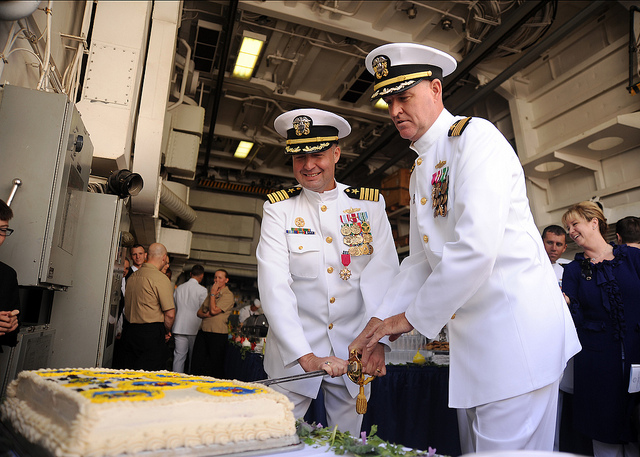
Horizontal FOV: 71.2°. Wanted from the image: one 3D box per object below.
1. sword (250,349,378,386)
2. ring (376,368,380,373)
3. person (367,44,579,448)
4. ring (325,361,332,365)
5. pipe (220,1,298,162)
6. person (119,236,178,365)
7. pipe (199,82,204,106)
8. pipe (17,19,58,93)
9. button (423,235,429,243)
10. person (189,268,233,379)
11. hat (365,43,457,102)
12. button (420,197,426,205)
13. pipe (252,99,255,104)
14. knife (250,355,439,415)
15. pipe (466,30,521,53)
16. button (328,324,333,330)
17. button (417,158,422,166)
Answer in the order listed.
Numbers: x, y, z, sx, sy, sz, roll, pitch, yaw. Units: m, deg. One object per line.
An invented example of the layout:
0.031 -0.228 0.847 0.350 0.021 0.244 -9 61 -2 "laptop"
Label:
0.006 0.704 2.171 0.527 0.212 0.046 -5 -45 -11 "sword"
0.307 0.753 2.367 0.035 0.025 0.008 18 -20 -32 "ring"
0.698 0.024 2.226 0.877 2.038 0.579 -8 -16 29 "person"
0.044 0.663 2.199 0.030 0.014 0.015 -9 -17 29 "ring"
-1.304 -2.773 8.884 0.261 0.292 5.118 5 -16 -21 "pipe"
-2.054 0.893 5.426 0.559 1.470 0.363 6 -15 -25 "person"
-2.325 -2.605 8.786 0.061 0.547 0.605 4 -15 -16 "pipe"
-2.246 -1.395 3.576 0.163 0.623 0.247 2 5 -16 "pipe"
0.530 0.052 2.239 0.003 0.043 0.042 4 -15 -18 "button"
-1.539 1.350 6.514 0.574 1.579 0.567 -13 -19 41 "person"
0.500 -0.862 2.476 0.511 0.243 0.508 -14 16 -36 "hat"
0.532 -0.141 2.297 0.017 0.029 0.028 14 22 -43 "button"
-1.364 -2.613 9.167 0.037 0.164 0.039 17 21 39 "pipe"
0.202 0.776 2.246 0.956 0.334 0.104 -1 8 -12 "knife"
2.580 -2.778 6.586 0.791 0.118 0.072 29 14 -7 "pipe"
0.063 0.576 2.615 0.022 0.031 0.008 11 -11 -8 "button"
0.529 -0.353 2.365 0.026 0.042 0.014 -7 -15 24 "button"
